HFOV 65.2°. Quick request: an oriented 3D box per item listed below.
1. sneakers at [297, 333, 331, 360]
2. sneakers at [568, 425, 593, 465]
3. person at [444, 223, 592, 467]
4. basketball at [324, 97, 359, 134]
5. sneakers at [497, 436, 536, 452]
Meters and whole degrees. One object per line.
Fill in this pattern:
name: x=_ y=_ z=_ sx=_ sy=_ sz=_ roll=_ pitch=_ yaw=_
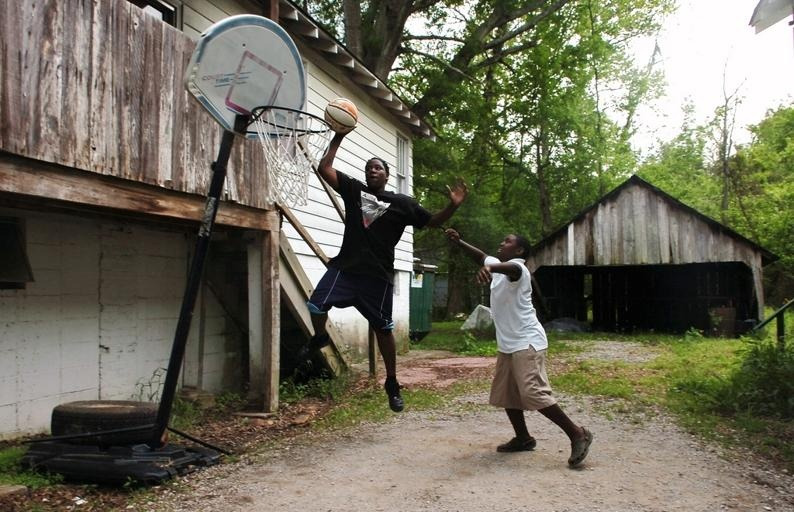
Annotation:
sneakers: x=-1.033 y=1.173 z=7.845 sx=0.568 sy=0.201 sz=0.250 roll=-33 pitch=-18 yaw=29
sneakers: x=2.166 y=2.235 z=7.304 sx=0.211 sy=0.468 sz=0.223 roll=21 pitch=-9 yaw=0
person: x=1.516 y=1.086 z=7.507 sx=1.534 sy=2.671 sz=0.825 roll=1 pitch=5 yaw=20
basketball: x=-0.684 y=-1.689 z=7.509 sx=0.359 sy=0.424 sz=0.241 roll=-1 pitch=5 yaw=-12
sneakers: x=1.488 y=2.339 z=7.769 sx=0.481 sy=0.175 sz=0.183 roll=0 pitch=-9 yaw=-4
